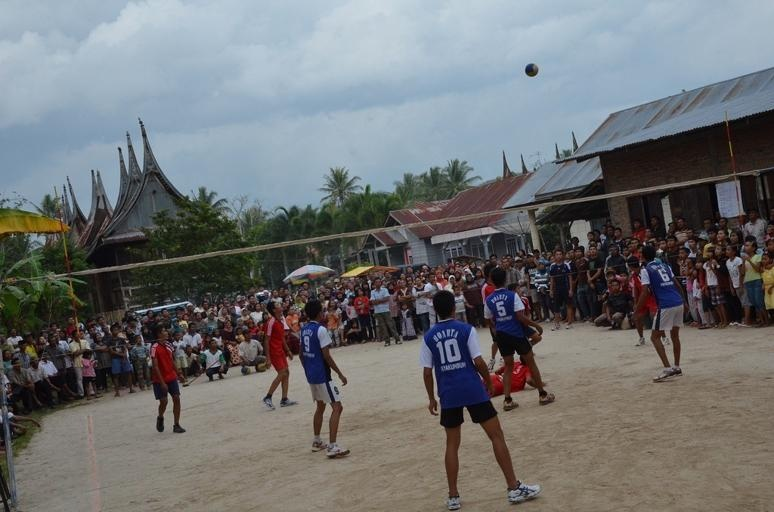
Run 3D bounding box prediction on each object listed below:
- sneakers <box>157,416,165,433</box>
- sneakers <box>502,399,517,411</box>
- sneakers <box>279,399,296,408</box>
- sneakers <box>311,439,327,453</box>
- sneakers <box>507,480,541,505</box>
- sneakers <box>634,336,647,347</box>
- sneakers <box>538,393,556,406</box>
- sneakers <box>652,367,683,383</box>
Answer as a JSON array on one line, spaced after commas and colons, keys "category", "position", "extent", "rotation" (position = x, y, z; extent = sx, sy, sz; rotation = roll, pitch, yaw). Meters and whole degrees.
[{"category": "sneakers", "position": [-4.868, 3.600, 13.212], "extent": [0.124, 0.369, 0.149], "rotation": [-7, -7, -46]}, {"category": "sneakers", "position": [2.183, 2.640, 10.989], "extent": [0.125, 0.152, 0.325], "rotation": [1, 3, 32]}, {"category": "sneakers", "position": [-2.238, 3.289, 13.802], "extent": [0.438, 0.196, 0.151], "rotation": [-1, -1, 1]}, {"category": "sneakers", "position": [-1.172, 3.203, 10.516], "extent": [0.146, 0.170, 0.379], "rotation": [1, 3, 15]}, {"category": "sneakers", "position": [1.714, 2.989, 7.918], "extent": [0.486, 0.267, 0.191], "rotation": [-6, 6, -8]}, {"category": "sneakers", "position": [5.777, 1.948, 14.158], "extent": [0.140, 0.241, 0.380], "rotation": [0, -2, -22]}, {"category": "sneakers", "position": [2.831, 2.513, 10.892], "extent": [0.323, 0.151, 0.135], "rotation": [-9, 9, -38]}, {"category": "sneakers", "position": [4.968, 2.082, 10.979], "extent": [0.625, 0.254, 0.214], "rotation": [-13, -4, -8]}]
